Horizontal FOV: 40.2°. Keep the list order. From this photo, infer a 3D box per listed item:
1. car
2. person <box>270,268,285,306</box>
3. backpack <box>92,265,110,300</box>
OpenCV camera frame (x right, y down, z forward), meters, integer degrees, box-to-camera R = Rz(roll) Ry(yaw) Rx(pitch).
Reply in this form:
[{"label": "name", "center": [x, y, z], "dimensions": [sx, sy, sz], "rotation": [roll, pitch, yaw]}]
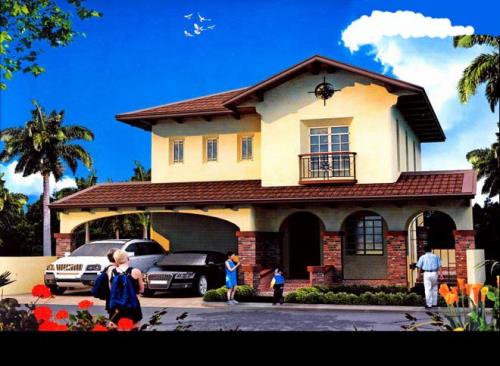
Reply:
[{"label": "car", "center": [-2.614, 3.840, 27.437], "dimensions": [1.927, 1.517, 3.444], "rotation": [3, 14, 33]}, {"label": "person", "center": [1.003, 3.702, 24.179], "dimensions": [0.452, 1.469, 1.033], "rotation": [-5, 12, 0]}, {"label": "backpack", "center": [-3.381, 2.346, 15.561], "dimensions": [0.455, 0.842, 0.388], "rotation": [-5, 12, 3]}]
